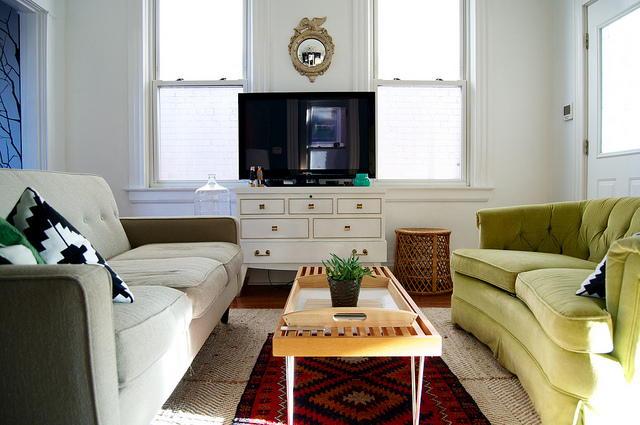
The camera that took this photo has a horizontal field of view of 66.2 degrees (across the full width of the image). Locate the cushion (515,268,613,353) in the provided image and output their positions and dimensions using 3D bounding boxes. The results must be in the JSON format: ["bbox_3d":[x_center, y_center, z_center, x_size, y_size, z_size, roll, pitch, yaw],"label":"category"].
[{"bbox_3d":[1.340,0.538,2.668,0.372,0.117,0.413,-3,16,10],"label":"cushion"}]

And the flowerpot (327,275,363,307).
[{"bbox_3d":[0.149,0.465,2.944,0.215,0.170,0.220,0,4,12],"label":"flowerpot"}]

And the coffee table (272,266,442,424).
[{"bbox_3d":[0.195,0.735,2.893,0.869,0.847,0.756,-2,8,1],"label":"coffee table"}]

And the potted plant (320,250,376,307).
[{"bbox_3d":[0.169,0.400,2.938,0.243,0.312,0.338,-1,8,5],"label":"potted plant"}]

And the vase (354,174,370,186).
[{"bbox_3d":[0.385,-0.300,4.563,0.106,0.081,0.112,0,-5,-5],"label":"vase"}]

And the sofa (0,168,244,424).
[{"bbox_3d":[-1.096,0.499,2.766,0.768,0.813,1.477,1,6,-4],"label":"sofa"}]
